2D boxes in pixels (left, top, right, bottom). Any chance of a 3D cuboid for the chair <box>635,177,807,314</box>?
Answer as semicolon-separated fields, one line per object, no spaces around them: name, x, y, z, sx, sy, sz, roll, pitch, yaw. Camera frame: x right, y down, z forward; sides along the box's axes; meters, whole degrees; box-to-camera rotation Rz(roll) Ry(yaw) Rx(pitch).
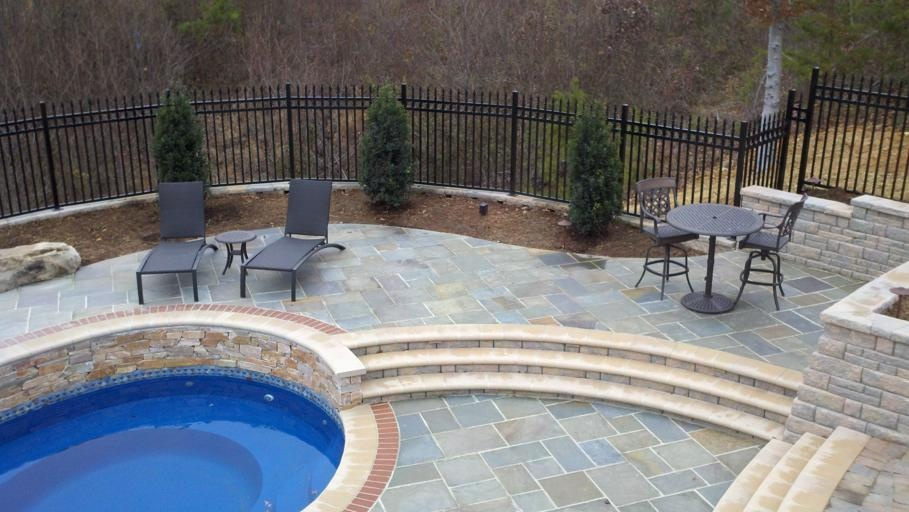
chair;4.956;-0.283;13.935;2.840;2.007;2.430;13;27;24
